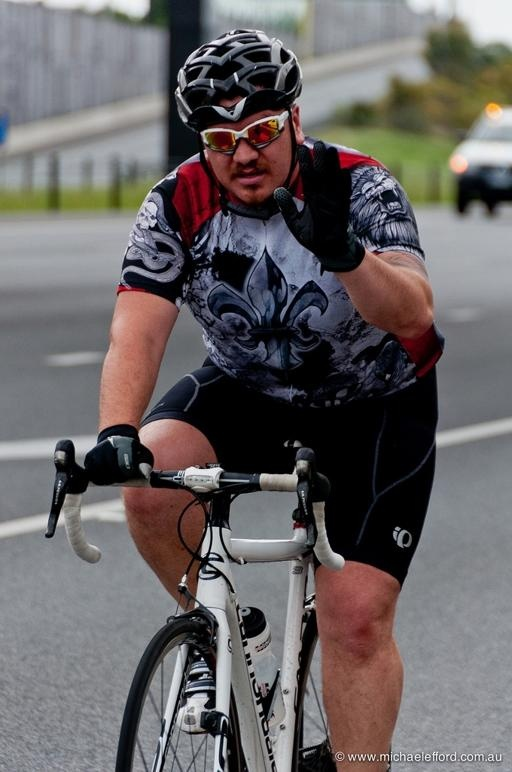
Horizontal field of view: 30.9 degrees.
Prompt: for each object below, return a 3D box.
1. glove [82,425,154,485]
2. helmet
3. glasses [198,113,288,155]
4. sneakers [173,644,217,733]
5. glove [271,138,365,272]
[{"bbox_3d":[-0.246,0.127,1.664,0.116,0.087,0.203,0,9,-7],"label":"glove"},{"bbox_3d":[-0.028,-0.615,1.852,0.264,0.224,0.230,1,10,-5],"label":"helmet"},{"bbox_3d":[-0.023,-0.494,1.804,0.166,0.088,0.076,1,10,0],"label":"glasses"},{"bbox_3d":[-0.102,0.519,1.573,0.064,0.116,0.130,1,10,-4],"label":"sneakers"},{"bbox_3d":[0.108,-0.306,1.590,0.144,0.219,0.114,8,12,31],"label":"glove"}]
